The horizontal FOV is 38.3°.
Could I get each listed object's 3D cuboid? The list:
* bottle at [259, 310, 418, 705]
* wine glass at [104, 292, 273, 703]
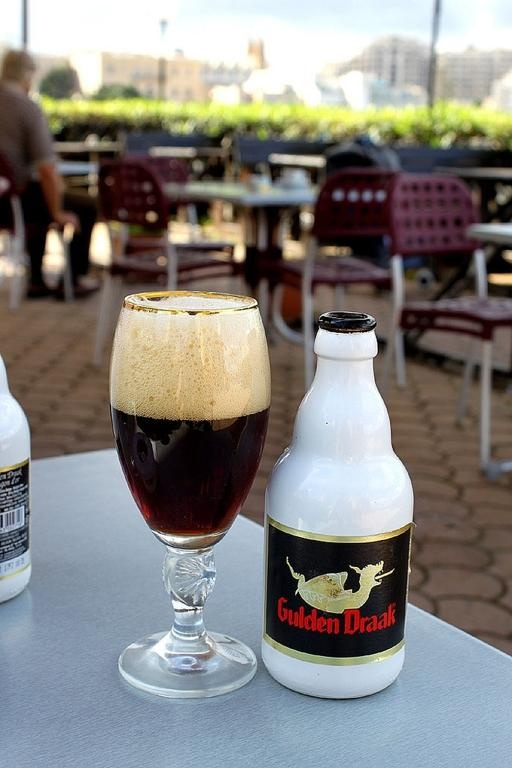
[{"bbox_3d":[0.043,0.064,0.373,0.073,0.194,0.048,3,12,1],"label":"bottle"},{"bbox_3d":[-0.039,0.051,0.419,0.086,0.198,0.150,0,11,-11],"label":"wine glass"}]
